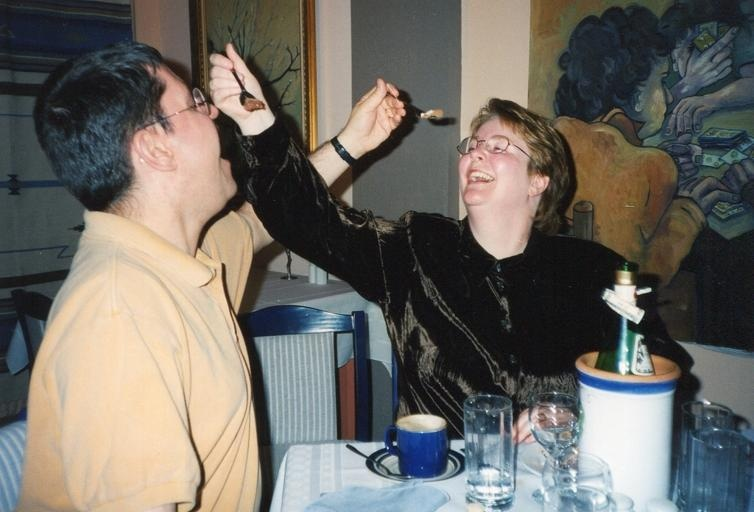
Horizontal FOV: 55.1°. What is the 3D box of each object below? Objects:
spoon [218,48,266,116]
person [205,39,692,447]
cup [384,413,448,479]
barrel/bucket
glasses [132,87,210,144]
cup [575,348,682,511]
[{"bbox_3d":[-0.359,-0.452,1.997,0.070,0.218,0.059,-22,2,19],"label":"spoon"},{"bbox_3d":[0.271,-0.040,2.292,1.374,1.677,0.535,-1,-10,-8],"label":"person"},{"bbox_3d":[0.101,0.490,1.873,0.148,0.123,0.122,-1,7,4],"label":"cup"},{"bbox_3d":[0.593,0.408,1.886,0.253,0.430,0.279,-2,5,0],"label":"barrel/bucket"},{"bbox_3d":[-0.523,-0.377,1.905,0.139,0.047,0.102,-23,22,-7],"label":"glasses"},{"bbox_3d":[0.653,0.417,1.886,0.268,0.450,0.299,-1,3,27],"label":"cup"}]
